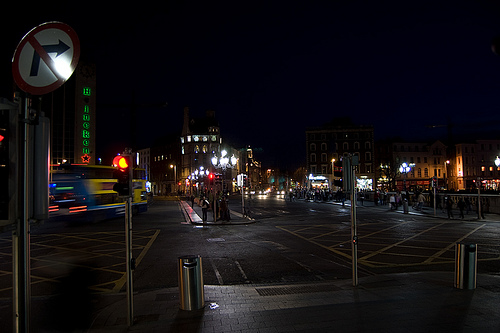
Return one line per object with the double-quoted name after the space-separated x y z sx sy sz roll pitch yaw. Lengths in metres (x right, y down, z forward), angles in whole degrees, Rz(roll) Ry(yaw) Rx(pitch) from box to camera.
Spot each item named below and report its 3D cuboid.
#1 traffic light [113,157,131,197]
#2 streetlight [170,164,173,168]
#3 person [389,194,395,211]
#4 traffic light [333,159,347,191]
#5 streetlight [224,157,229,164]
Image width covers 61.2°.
-2.904 0.225 9.564 0.522 0.900 0.280 -1 -3 34 "traffic light"
-20.141 -0.240 109.205 0.105 0.944 1.562 2 -4 -30 "streetlight"
13.267 3.351 39.380 0.367 1.341 2.131 0 -3 19 "person"
2.535 0.209 11.806 0.304 0.839 0.844 1 -3 -2 "traffic light"
-2.029 -0.498 36.904 0.279 0.566 0.537 -2 6 7 "streetlight"
